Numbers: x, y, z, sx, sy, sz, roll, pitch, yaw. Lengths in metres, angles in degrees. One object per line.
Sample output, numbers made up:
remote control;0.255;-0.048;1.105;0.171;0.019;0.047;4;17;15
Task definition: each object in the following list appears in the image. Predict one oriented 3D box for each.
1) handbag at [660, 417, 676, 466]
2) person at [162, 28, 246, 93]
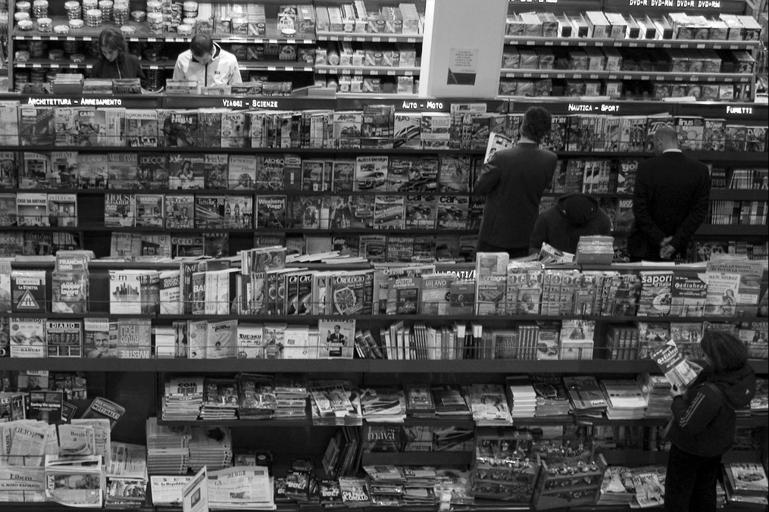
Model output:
handbag;2.652;1.753;14.043;0.118;0.353;0.349;1;27;6
person;-1.950;-2.156;16.728;0.743;0.629;1.243;-1;6;-7
